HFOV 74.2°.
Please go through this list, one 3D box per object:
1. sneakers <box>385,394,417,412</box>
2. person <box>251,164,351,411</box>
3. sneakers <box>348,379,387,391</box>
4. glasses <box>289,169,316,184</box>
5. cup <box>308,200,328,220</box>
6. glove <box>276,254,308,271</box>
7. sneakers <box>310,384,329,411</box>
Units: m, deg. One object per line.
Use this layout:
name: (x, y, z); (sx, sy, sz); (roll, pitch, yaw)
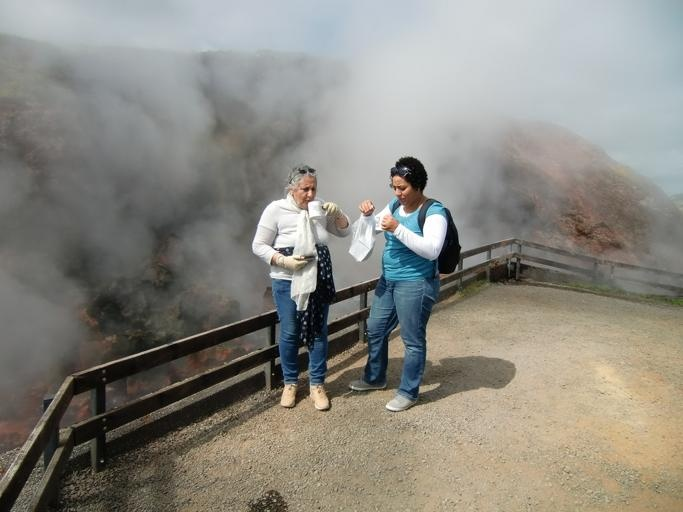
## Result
sneakers: (0.608, 1.509, 4.719); (0.335, 0.151, 0.149); (-4, 19, -16)
person: (-0.422, 0.348, 4.606); (0.901, 2.515, 0.515); (0, 4, 0)
sneakers: (0.296, 1.406, 5.058); (0.394, 0.176, 0.151); (5, -3, -1)
glasses: (-0.400, -0.799, 4.532); (0.267, 0.170, 0.185); (0, 4, -5)
cup: (-0.246, -0.459, 4.466); (0.187, 0.191, 0.101); (-4, 6, -43)
glove: (-0.509, 0.065, 4.420); (0.340, 0.163, 0.100); (2, 5, 24)
sneakers: (-0.230, 1.473, 4.719); (0.136, 0.133, 0.289); (-3, 6, -20)
